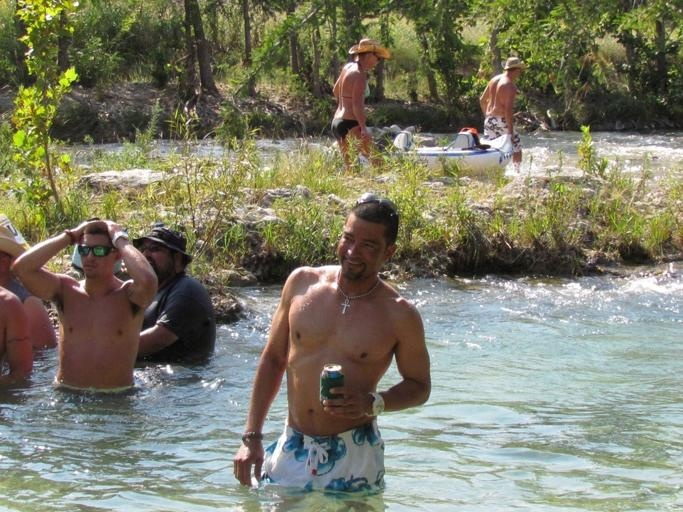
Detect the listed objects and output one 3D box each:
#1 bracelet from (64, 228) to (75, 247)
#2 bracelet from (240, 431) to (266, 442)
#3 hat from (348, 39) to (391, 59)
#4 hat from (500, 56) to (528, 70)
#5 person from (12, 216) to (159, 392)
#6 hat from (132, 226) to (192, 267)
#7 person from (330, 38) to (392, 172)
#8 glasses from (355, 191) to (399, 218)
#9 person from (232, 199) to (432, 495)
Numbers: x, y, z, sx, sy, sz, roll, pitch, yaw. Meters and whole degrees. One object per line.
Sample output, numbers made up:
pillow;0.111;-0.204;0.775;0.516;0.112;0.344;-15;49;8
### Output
bracelet;-2.462;-0.169;8.002;0.045;0.136;0.114;-19;3;-24
bracelet;-0.664;1.327;6.567;0.143;0.081;0.088;-2;5;-11
hat;0.492;-3.385;14.413;0.611;0.252;0.568;3;8;0
hat;3.162;-3.491;16.051;0.289;0.252;0.519;-1;5;3
person;-2.262;0.457;8.038;1.217;1.567;0.345;-1;5;5
hat;-1.840;-0.102;9.149;0.402;0.195;0.495;7;-30;41
person;0.287;-2.556;14.875;0.714;2.132;1.180;-2;5;-14
glasses;0.312;-0.428;6.648;0.223;0.090;0.199;37;-13;-23
person;-0.077;1.193;6.521;1.249;3.206;1.016;5;-10;5
